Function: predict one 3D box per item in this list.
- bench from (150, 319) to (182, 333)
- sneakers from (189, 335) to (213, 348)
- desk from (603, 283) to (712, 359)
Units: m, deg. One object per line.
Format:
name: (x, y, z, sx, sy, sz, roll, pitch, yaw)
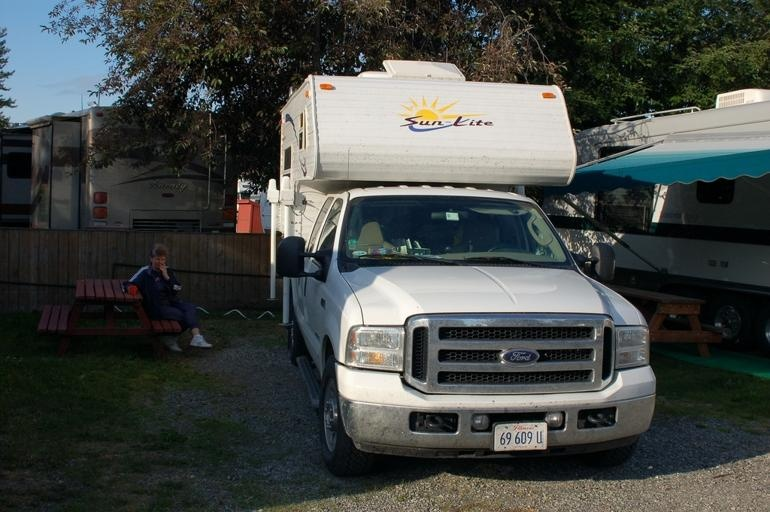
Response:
bench: (-3.190, 1.031, 9.874, 0.399, 0.145, 0.461, -2, 9, -21)
sneakers: (-2.905, 1.345, 10.716, 0.448, 0.208, 0.155, 6, 4, -2)
desk: (4.653, 1.100, 11.443, 1.674, 1.020, 1.341, -1, 9, -21)
